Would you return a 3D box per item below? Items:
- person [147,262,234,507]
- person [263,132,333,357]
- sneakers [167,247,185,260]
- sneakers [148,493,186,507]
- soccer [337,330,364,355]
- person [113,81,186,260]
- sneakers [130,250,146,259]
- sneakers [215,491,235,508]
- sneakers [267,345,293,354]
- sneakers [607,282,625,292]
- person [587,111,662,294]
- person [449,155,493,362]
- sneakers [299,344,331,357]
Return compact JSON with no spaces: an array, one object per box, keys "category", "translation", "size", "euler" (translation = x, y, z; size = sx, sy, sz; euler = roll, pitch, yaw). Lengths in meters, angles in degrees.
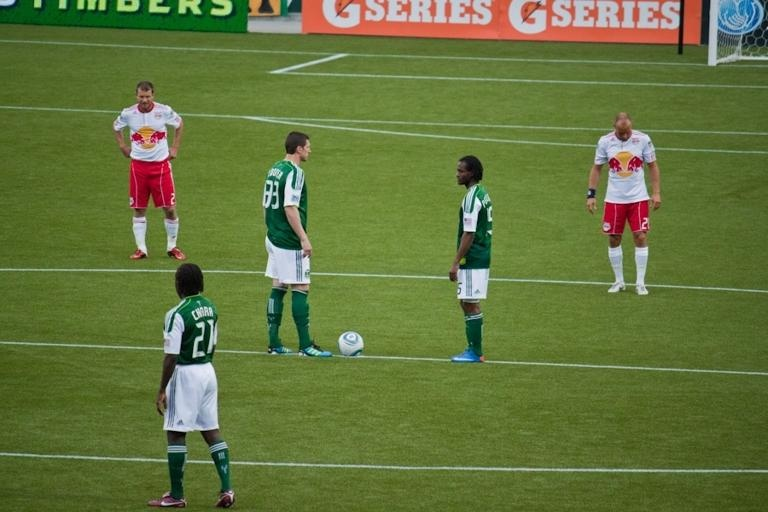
[{"category":"person","translation":[-2.725,1.794,20.695],"size":[1.082,3.411,0.422],"euler":[-1,2,-8]},{"category":"person","translation":[-1.515,-0.195,23.837],"size":[0.861,3.638,0.675],"euler":[-1,2,5]},{"category":"sneakers","translation":[-3.994,-0.091,28.273],"size":[0.370,0.146,0.187],"euler":[9,16,40]},{"category":"sneakers","translation":[-3.038,3.414,20.750],"size":[0.580,0.192,0.186],"euler":[4,-5,1]},{"category":"soccer","translation":[-0.543,1.372,24.128],"size":[0.409,0.364,0.372],"euler":[12,-29,15]},{"category":"person","translation":[-4.465,-1.645,28.070],"size":[1.217,3.370,1.023],"euler":[-1,2,-8]},{"category":"sneakers","translation":[-4.700,-0.061,28.232],"size":[0.176,0.121,0.294],"euler":[-1,-1,9]},{"category":"sneakers","translation":[-2.231,3.378,20.715],"size":[0.285,0.272,0.225],"euler":[-1,2,-16]},{"category":"sneakers","translation":[-1.740,1.527,24.295],"size":[0.429,0.162,0.141],"euler":[-2,7,-5]},{"category":"sneakers","translation":[4.248,0.544,27.032],"size":[0.359,0.123,0.145],"euler":[-2,2,-40]},{"category":"person","translation":[4.327,-0.950,26.718],"size":[1.236,3.271,0.813],"euler":[-1,2,8]},{"category":"person","translation":[1.381,0.046,23.757],"size":[0.652,3.339,0.646],"euler":[-1,2,3]},{"category":"sneakers","translation":[-1.145,1.522,24.203],"size":[0.573,0.201,0.191],"euler":[0,1,2]}]
